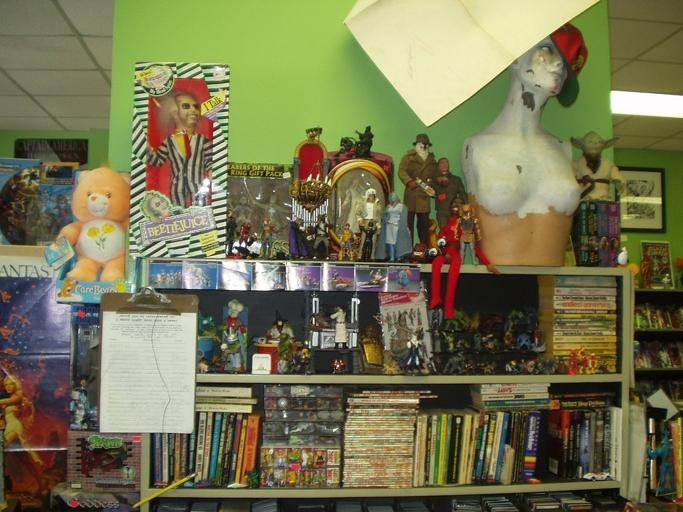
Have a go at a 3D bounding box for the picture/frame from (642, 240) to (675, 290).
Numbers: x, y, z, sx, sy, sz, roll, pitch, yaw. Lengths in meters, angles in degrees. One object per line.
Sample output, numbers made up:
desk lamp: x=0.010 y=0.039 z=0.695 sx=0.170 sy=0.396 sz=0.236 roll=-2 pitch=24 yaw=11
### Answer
picture/frame: x=2.875 y=0.093 z=7.988 sx=0.356 sy=0.539 sz=0.026 roll=9 pitch=-26 yaw=-15

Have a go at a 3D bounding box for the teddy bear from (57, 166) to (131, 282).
teddy bear: x=-1.281 y=-0.174 z=4.652 sx=0.303 sy=0.610 sz=0.123 roll=-1 pitch=-8 yaw=2

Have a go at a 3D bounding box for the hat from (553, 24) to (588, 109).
hat: x=1.220 y=-1.030 z=4.688 sx=0.177 sy=0.387 sz=0.280 roll=-3 pitch=-9 yaw=17

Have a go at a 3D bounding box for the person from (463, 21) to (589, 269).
person: x=1.002 y=-0.636 z=4.771 sx=0.610 sy=1.370 sz=0.527 roll=3 pitch=-4 yaw=0

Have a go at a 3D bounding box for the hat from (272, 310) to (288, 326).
hat: x=-0.328 y=0.343 z=4.685 sx=0.069 sy=0.070 sz=0.075 roll=-4 pitch=36 yaw=-13

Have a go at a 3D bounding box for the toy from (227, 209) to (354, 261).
toy: x=-0.253 y=-0.100 z=4.601 sx=0.686 sy=0.268 sz=0.165 roll=-1 pitch=-8 yaw=-3

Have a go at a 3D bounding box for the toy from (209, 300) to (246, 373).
toy: x=-0.576 y=0.423 z=4.628 sx=0.153 sy=0.379 sz=0.165 roll=1 pitch=-9 yaw=-10

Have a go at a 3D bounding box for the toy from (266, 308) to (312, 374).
toy: x=-0.281 y=0.462 z=4.628 sx=0.237 sy=0.389 sz=0.145 roll=-7 pitch=-19 yaw=2

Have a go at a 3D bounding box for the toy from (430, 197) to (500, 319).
toy: x=0.621 y=0.017 z=4.663 sx=0.392 sy=0.588 sz=0.180 roll=8 pitch=5 yaw=12

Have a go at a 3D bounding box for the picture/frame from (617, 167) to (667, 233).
picture/frame: x=2.683 y=-0.480 z=7.846 sx=0.616 sy=0.754 sz=0.051 roll=3 pitch=-8 yaw=-19

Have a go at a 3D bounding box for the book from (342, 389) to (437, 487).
book: x=0.229 y=0.955 z=4.555 sx=0.457 sy=0.492 sz=0.158 roll=1 pitch=-2 yaw=-1
